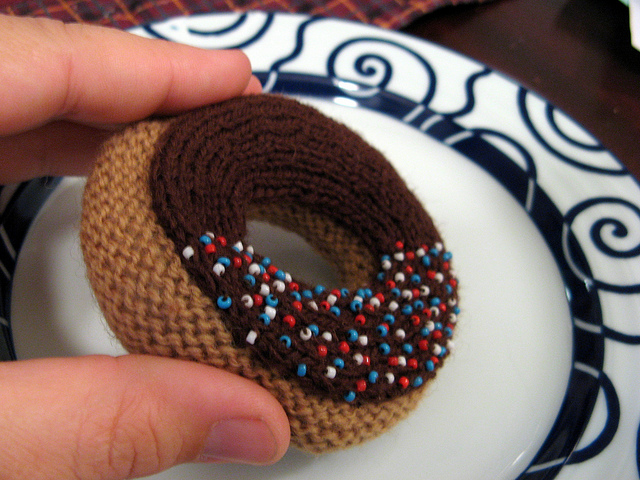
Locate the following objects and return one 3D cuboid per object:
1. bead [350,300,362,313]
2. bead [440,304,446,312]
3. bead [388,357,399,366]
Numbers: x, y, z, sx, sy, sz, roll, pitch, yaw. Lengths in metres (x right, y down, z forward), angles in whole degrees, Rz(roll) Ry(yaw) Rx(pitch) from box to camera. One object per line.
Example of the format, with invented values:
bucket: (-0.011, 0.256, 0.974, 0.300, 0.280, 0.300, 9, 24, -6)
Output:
bead: (0.087, 0.156, 1.547, 0.021, 0.008, 0.024, -4, 61, -11)
bead: (0.286, 0.163, 1.592, 0.012, 0.005, 0.013, 24, 57, -29)
bead: (0.162, 0.275, 1.517, 0.024, 0.007, 0.019, 0, 87, -3)
